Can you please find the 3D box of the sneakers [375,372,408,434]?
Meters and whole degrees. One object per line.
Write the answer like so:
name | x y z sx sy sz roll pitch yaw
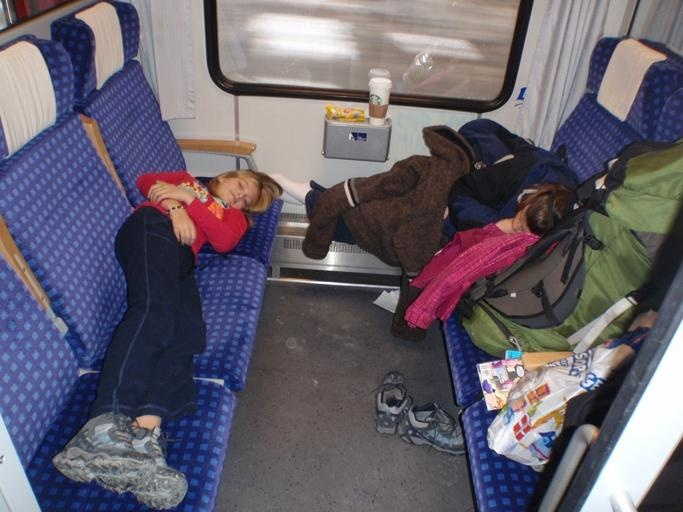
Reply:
sneakers | 0.250 0.729 2.578 0.124 0.109 0.274 3 43 10

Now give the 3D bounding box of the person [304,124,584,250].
person | 0.480 -0.343 3.061 1.720 0.844 0.639 6 48 21

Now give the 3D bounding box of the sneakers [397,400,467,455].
sneakers | 0.439 0.820 2.503 0.325 0.160 0.163 10 41 9

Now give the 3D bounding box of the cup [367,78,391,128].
cup | 0.224 -0.949 3.121 0.118 0.272 0.102 1 42 -4

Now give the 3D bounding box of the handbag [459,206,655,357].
handbag | 0.908 0.171 2.188 0.675 0.241 0.475 -45 40 6

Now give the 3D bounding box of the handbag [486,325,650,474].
handbag | 0.702 0.501 1.789 0.228 0.684 0.371 37 9 2

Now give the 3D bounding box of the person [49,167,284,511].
person | -0.748 0.357 2.135 0.471 0.398 1.459 7 25 -10

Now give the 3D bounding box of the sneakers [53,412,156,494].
sneakers | -0.754 0.684 1.749 0.309 0.214 0.226 16 43 11
